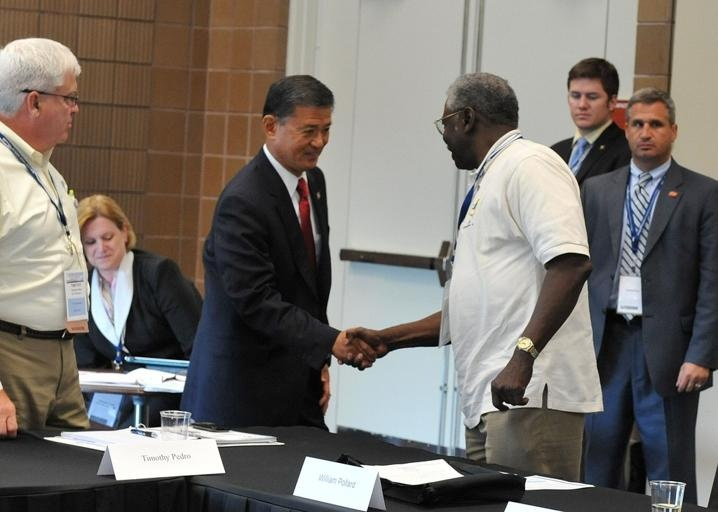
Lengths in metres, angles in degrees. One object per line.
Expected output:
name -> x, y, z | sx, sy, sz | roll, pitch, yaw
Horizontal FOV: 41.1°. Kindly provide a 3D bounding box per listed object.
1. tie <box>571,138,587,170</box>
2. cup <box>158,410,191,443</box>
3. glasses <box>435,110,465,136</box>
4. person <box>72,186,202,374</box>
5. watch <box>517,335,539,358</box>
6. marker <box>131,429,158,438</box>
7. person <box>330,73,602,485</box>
tie -> 1.160, -0.535, 5.033 | 0.055, 0.219, 0.063 | 11, -33, 16
cup -> -0.642, 0.588, 3.336 | 0.083, 0.076, 0.098 | 1, -7, -6
glasses -> 0.348, -0.508, 3.816 | 0.109, 0.035, 0.111 | -15, 3, -19
person -> -1.200, 0.137, 5.128 | 0.613, 1.063, 0.599 | -26, -22, 29
watch -> 0.608, 0.324, 3.431 | 0.051, 0.032, 0.049 | 41, -8, 38
marker -> -0.743, 0.619, 3.354 | 0.059, 0.015, 0.011 | 10, -10, 34
person -> 0.530, 0.254, 4.806 | 1.194, 2.842, 1.138 | 0, -7, 1
